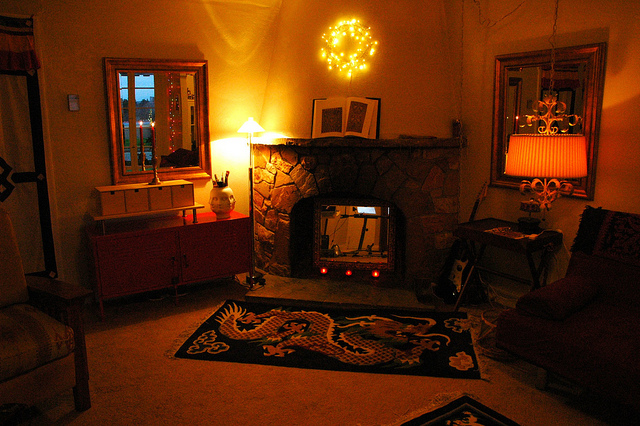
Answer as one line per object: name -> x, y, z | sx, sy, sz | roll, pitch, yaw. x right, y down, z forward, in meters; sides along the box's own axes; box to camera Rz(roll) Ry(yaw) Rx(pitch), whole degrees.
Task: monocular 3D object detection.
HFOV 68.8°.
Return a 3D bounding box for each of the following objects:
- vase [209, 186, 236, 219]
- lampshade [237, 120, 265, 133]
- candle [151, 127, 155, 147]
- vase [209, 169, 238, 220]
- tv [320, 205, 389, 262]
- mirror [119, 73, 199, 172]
vase -> -1.095, -0.127, 5.438 | 0.292, 0.351, 0.278 | -7, -5, 7
lampshade -> -0.776, -0.996, 5.337 | 0.283, 0.141, 0.185 | -1, 11, -7
candle -> -1.856, -0.851, 5.193 | 0.037, 0.206, 0.035 | -4, 12, -20
vase -> -1.149, -0.220, 5.448 | 0.332, 0.490, 0.338 | -1, 6, 15
tv -> 0.412, 0.242, 5.586 | 1.105, 0.857, 0.098 | 2, 1, -27
mirror -> -1.841, -1.046, 5.215 | 1.154, 1.424, 0.055 | -6, 15, -26
